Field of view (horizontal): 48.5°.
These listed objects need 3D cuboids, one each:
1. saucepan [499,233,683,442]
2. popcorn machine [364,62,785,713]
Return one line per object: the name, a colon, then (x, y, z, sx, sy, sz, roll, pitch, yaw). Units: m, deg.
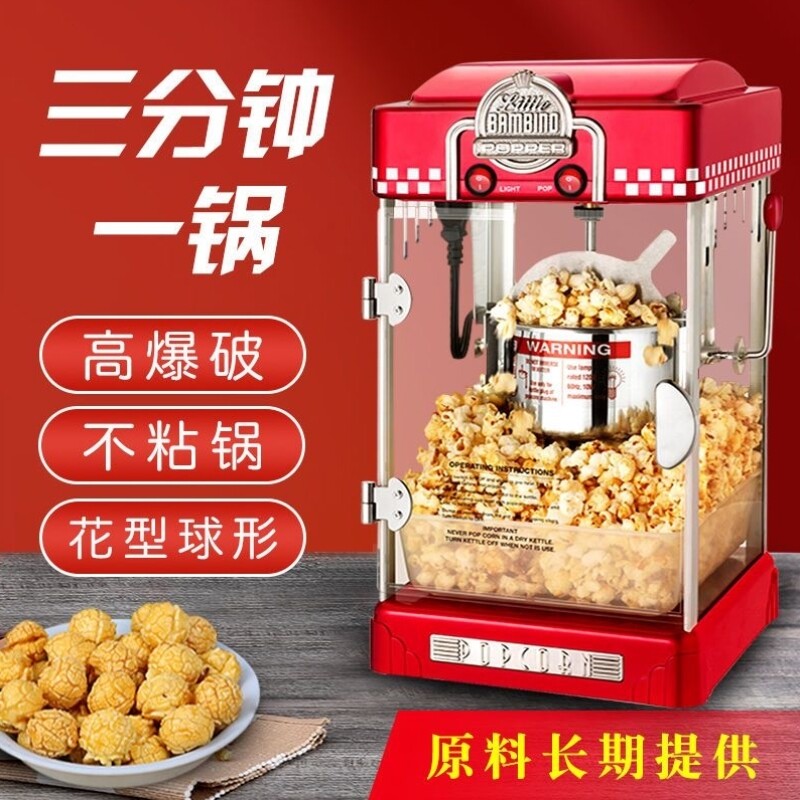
saucepan: (0.201, -0.064, 0.939, 0.174, 0.178, 0.212, 3, 13, 15)
popcorn machine: (0.276, -0.020, 1.019, 0.577, 0.587, 0.505, -3, 7, -11)
